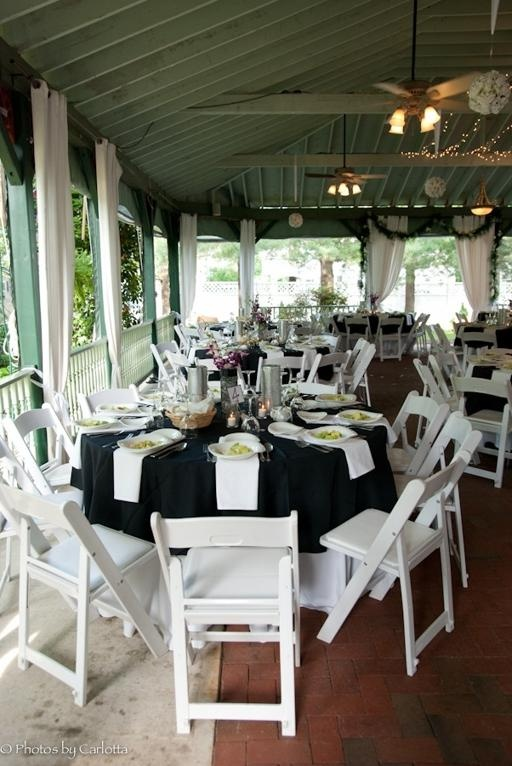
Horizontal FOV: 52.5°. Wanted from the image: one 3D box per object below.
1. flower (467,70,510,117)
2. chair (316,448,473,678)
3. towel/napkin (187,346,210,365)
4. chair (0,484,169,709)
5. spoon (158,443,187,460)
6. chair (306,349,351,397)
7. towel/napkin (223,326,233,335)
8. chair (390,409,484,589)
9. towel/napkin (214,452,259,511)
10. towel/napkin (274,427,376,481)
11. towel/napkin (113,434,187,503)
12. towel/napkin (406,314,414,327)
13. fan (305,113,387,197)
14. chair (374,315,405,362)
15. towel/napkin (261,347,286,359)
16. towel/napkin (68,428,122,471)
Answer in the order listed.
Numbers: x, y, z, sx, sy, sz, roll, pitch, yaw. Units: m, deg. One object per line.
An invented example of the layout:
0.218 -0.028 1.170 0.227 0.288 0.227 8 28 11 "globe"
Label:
1.828 -2.296 4.067 0.279 0.328 0.273 2 6 25 "flower"
0.500 0.635 1.955 0.422 0.689 0.434 3 10 35 "chair"
-0.609 -0.299 5.493 0.357 0.172 0.368 -2 4 -2 "towel/napkin"
-0.596 0.646 1.803 0.513 0.720 0.584 2 6 27 "chair"
-0.325 0.268 2.057 0.030 0.026 0.185 24 15 14 "spoon"
0.626 -0.105 4.547 0.328 0.519 0.377 -7 19 -22 "chair"
-0.422 -0.801 7.949 0.134 0.161 0.175 4 10 3 "towel/napkin"
0.786 0.502 2.366 0.505 0.630 0.445 -15 20 -9 "chair"
-0.067 0.359 1.886 0.192 0.203 0.062 -2 3 -1 "towel/napkin"
0.272 0.236 2.165 0.369 0.122 0.198 14 21 32 "towel/napkin"
-0.484 0.299 2.148 0.177 0.236 0.355 10 13 11 "towel/napkin"
3.230 -1.327 10.841 0.181 0.094 0.296 4 22 14 "towel/napkin"
1.290 -3.352 7.349 1.000 1.177 1.006 1 3 -2 "fan"
2.699 -0.907 10.413 0.522 0.870 0.933 1 6 13 "chair"
0.172 -0.281 4.901 0.150 0.048 0.158 -2 16 3 "towel/napkin"
-0.760 0.291 2.393 0.205 0.164 0.212 0 5 -5 "towel/napkin"
